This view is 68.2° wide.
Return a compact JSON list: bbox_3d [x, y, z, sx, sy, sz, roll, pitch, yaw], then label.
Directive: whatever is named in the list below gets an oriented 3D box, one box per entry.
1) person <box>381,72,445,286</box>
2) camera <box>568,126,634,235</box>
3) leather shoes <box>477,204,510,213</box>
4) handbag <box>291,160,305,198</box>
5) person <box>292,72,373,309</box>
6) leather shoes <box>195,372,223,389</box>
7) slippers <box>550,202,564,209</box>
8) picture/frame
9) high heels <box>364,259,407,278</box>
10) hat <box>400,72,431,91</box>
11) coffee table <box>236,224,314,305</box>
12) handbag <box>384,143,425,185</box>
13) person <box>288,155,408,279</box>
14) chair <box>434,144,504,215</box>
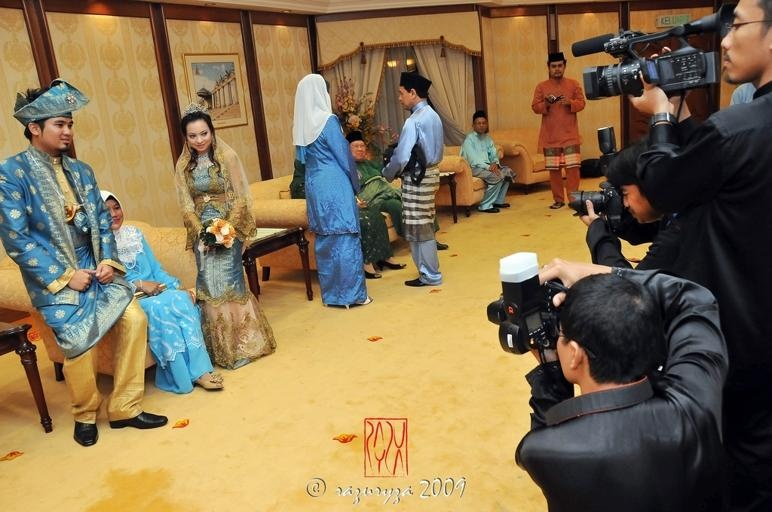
[{"bbox_3d":[0.241,-0.729,5.416,0.575,1.943,0.740,2,9,23],"label":"person"},{"bbox_3d":[0.926,-0.311,2.460,0.238,0.433,0.185,-1,10,40],"label":"camera"},{"bbox_3d":[1.522,-0.688,8.096,0.269,0.115,0.087,-8,18,-5],"label":"leather shoes"},{"bbox_3d":[-0.923,-0.810,5.979,0.122,0.362,0.233,7,-2,-40],"label":"handbag"},{"bbox_3d":[-0.480,-0.541,4.960,0.494,1.999,0.509,-8,19,-3],"label":"person"},{"bbox_3d":[-1.200,0.859,3.928,0.084,0.124,0.274,4,-7,-41],"label":"leather shoes"},{"bbox_3d":[2.365,-0.706,7.859,0.091,0.071,0.181,0,5,27],"label":"slippers"},{"bbox_3d":[-2.147,-2.071,7.131,1.037,0.883,0.039,4,13,30],"label":"picture/frame"},{"bbox_3d":[0.023,0.131,5.983,0.524,0.217,0.162,-5,6,-7],"label":"high heels"},{"bbox_3d":[0.278,-1.609,5.249,0.244,0.175,0.454,-2,19,12],"label":"hat"},{"bbox_3d":[-0.963,-0.055,5.026,0.653,0.688,0.715,4,23,21],"label":"coffee table"},{"bbox_3d":[0.225,-0.861,5.361,0.450,0.450,0.175,4,34,-3],"label":"handbag"},{"bbox_3d":[-0.412,-0.760,5.873,1.057,1.341,1.963,2,16,12],"label":"person"},{"bbox_3d":[1.119,-1.117,8.146,0.781,1.147,1.375,5,19,21],"label":"chair"}]
